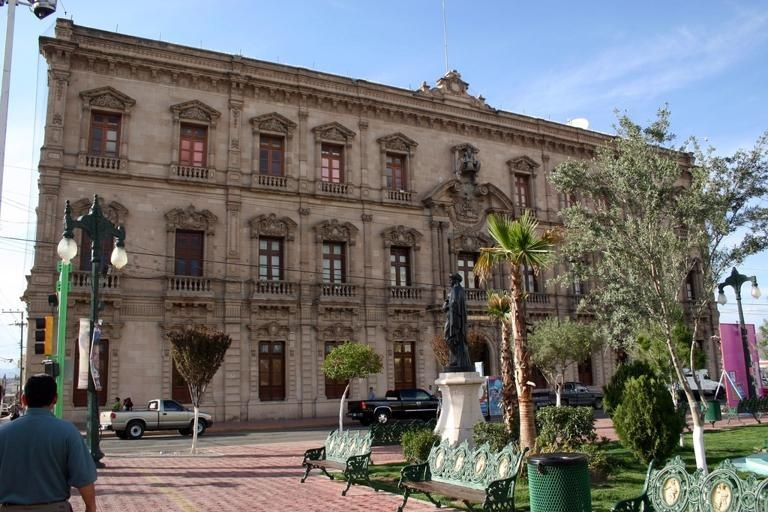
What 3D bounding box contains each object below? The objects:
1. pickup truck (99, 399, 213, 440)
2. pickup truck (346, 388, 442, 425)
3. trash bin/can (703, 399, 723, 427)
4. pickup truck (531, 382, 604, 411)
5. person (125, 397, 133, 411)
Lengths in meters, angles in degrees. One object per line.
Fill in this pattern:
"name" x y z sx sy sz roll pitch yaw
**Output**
"pickup truck" -10.533 7.706 32.764 4.557 1.593 2.156 4 -13 -32
"pickup truck" 0.635 7.858 36.258 4.404 1.497 1.998 2 -9 -22
"trash bin/can" 14.000 6.705 29.861 0.564 1.070 1.174 -7 -13 32
"pickup truck" 11.098 8.425 42.330 4.003 1.605 6.926 -3 -12 16
"person" -12.844 7.457 35.076 0.459 0.724 0.267 -4 -15 5
